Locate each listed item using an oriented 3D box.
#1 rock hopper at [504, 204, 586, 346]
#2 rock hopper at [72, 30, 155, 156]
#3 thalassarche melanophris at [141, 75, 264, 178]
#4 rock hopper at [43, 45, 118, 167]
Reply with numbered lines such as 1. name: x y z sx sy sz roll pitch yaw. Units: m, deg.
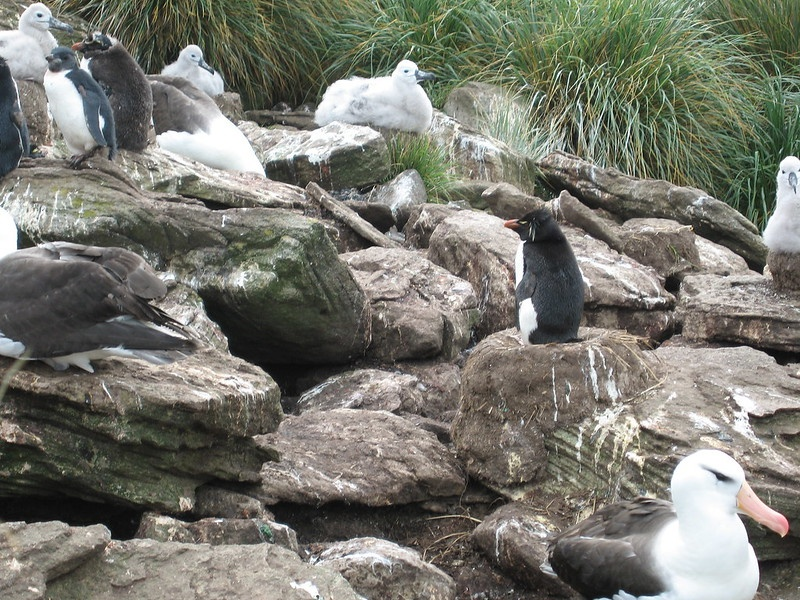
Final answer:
1. rock hopper: 1.182 -0.164 8.695 0.728 1.113 0.568 2 12 -10
2. rock hopper: -2.934 -2.028 10.966 0.897 1.203 0.785 4 3 -13
3. thalassarche melanophris: -2.273 -1.810 11.687 1.261 1.314 1.275 14 17 33
4. rock hopper: -2.867 -1.737 9.743 0.732 0.939 0.464 19 26 37
